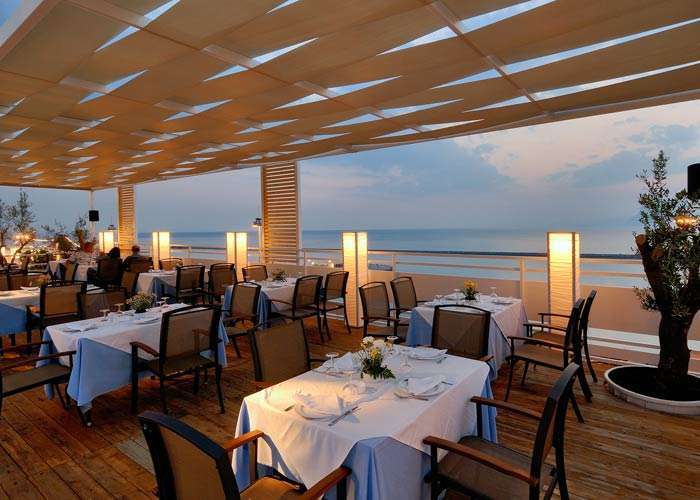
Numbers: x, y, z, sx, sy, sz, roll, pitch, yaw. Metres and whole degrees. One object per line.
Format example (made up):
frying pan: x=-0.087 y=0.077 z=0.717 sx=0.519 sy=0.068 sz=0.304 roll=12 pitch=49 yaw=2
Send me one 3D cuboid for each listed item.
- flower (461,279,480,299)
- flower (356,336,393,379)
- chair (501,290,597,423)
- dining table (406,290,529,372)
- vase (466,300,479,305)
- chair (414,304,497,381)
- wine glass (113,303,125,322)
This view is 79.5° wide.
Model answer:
flower: x=1.597 y=0.523 z=5.746 sx=0.281 sy=0.317 sz=0.251 roll=2 pitch=-2 yaw=-31
flower: x=0.239 y=0.856 z=3.447 sx=0.340 sy=0.342 sz=0.315 roll=-3 pitch=5 yaw=-20
chair: x=2.423 y=1.166 z=5.368 sx=1.406 sy=1.772 sz=1.244 roll=2 pitch=3 yaw=30
dining table: x=1.437 y=0.928 z=5.346 sx=1.175 sy=0.486 sz=1.101 roll=0 pitch=-2 yaw=25
vase: x=1.582 y=0.684 z=5.472 sx=0.097 sy=0.054 sz=0.088 roll=0 pitch=-2 yaw=5
chair: x=1.169 y=0.916 z=4.770 sx=0.888 sy=0.729 sz=0.866 roll=2 pitch=4 yaw=36
wine glass: x=-2.879 y=0.779 z=5.267 sx=0.201 sy=0.160 sz=0.193 roll=2 pitch=-2 yaw=-32
